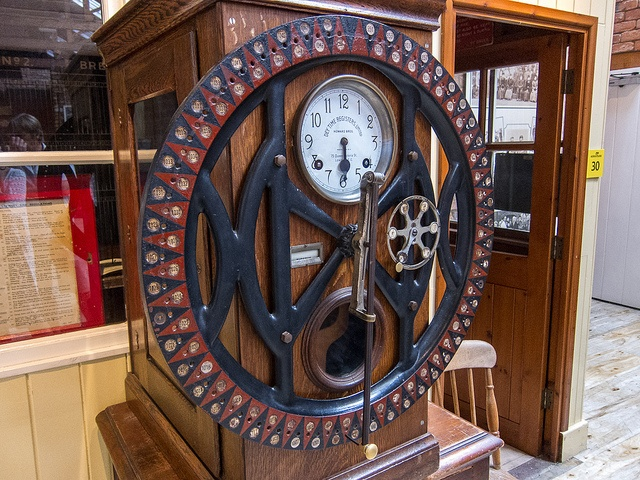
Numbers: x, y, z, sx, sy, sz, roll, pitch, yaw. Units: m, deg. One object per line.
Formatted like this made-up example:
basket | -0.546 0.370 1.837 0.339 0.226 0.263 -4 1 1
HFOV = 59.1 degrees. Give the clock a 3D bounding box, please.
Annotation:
clock | 0.052 -0.239 1.319 0.242 0.325 0.037 -1 7 -29
